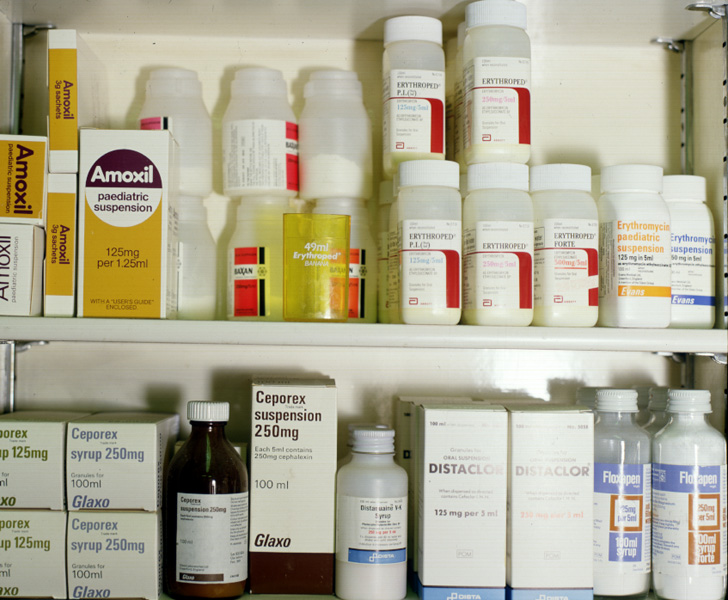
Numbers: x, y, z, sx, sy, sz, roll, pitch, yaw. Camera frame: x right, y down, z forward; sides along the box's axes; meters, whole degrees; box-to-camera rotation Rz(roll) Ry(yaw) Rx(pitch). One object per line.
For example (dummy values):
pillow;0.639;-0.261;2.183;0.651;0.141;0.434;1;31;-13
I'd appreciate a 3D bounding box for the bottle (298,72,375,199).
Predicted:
bottle;-0.045;-0.256;1.562;0.112;0.200;0.038;-1;-4;-5

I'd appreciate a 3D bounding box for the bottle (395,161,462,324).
bottle;0.096;-0.084;1.457;0.097;0.242;0.067;-2;-4;1

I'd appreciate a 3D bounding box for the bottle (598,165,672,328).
bottle;0.397;-0.076;1.478;0.106;0.238;0.056;-2;-4;2

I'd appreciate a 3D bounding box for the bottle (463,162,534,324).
bottle;0.194;-0.079;1.447;0.097;0.234;0.042;-2;-4;2

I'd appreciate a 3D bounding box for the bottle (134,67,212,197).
bottle;-0.286;-0.256;1.526;0.110;0.214;0.198;-1;-4;-9

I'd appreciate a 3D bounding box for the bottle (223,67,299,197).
bottle;-0.159;-0.259;1.541;0.114;0.194;0.056;-1;-4;-7

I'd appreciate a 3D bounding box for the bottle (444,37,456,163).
bottle;0.138;-0.317;1.587;0.021;0.210;0.069;-2;-4;5
